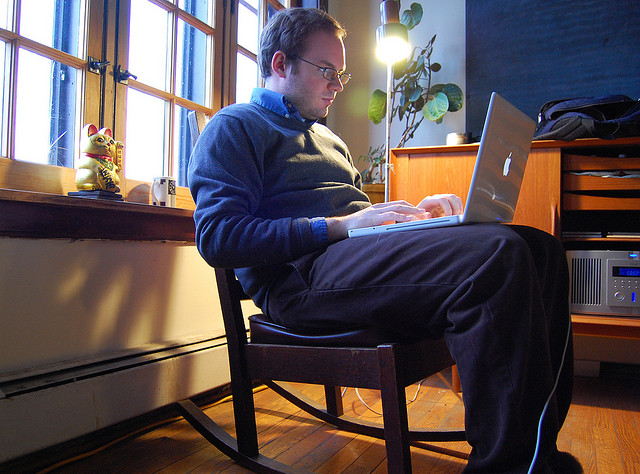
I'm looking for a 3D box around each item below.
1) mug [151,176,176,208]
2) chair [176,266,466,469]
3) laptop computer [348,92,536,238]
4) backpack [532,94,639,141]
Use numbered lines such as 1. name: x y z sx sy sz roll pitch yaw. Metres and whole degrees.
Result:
1. mug: -0.642 -0.174 1.876 0.080 0.141 0.133 9 14 19
2. chair: 0.046 0.388 1.703 0.967 0.937 0.566 -5 -9 24
3. laptop computer: 0.400 -0.184 1.374 0.376 0.314 0.496 -1 4 36
4. backpack: 1.227 -0.546 2.146 0.346 0.135 0.286 9 18 36
